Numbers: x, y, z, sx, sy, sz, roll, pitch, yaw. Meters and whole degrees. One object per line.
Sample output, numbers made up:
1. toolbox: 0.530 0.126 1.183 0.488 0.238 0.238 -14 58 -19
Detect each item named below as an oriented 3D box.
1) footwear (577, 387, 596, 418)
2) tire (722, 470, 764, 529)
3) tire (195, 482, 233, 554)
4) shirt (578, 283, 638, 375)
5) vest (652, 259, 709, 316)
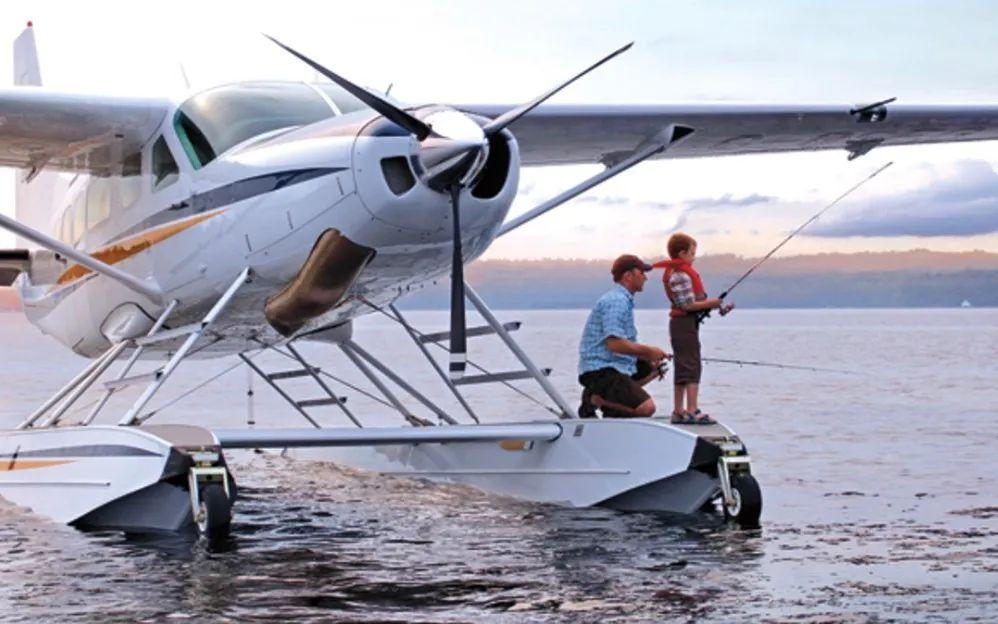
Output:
1. footwear: 0.797 0.841 10.632 0.223 0.270 0.119 9 11 35
2. tire: 1.946 1.495 9.247 0.261 0.379 0.392 6 4 -17
3. tire: -2.116 1.528 8.702 0.214 0.446 0.362 7 5 -18
4. shirt: 0.966 0.203 10.096 0.748 0.705 0.987 0 5 1
5. vest: 1.553 -0.238 10.229 0.587 0.340 0.356 1 11 -7
